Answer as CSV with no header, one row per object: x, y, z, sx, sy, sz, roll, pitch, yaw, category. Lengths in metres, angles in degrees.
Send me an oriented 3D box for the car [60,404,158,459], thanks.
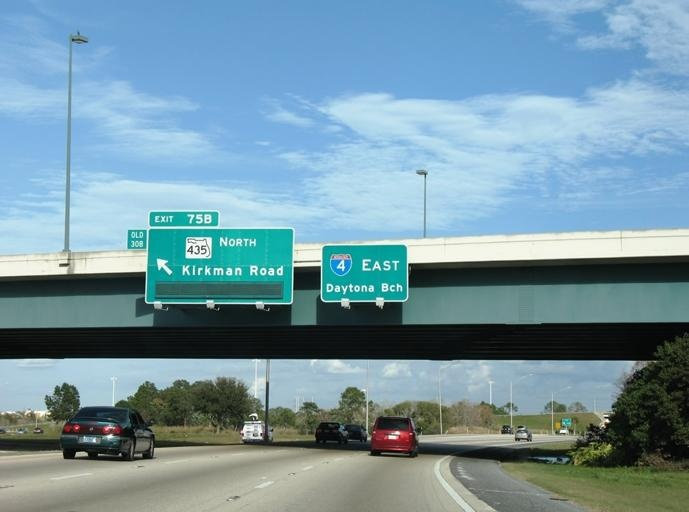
-9.437,7.199,39.802,4.041,2.008,3.545,5,-14,-22,car

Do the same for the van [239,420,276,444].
-7.151,13.810,77.460,1.732,1.357,2.559,0,-4,10,van
